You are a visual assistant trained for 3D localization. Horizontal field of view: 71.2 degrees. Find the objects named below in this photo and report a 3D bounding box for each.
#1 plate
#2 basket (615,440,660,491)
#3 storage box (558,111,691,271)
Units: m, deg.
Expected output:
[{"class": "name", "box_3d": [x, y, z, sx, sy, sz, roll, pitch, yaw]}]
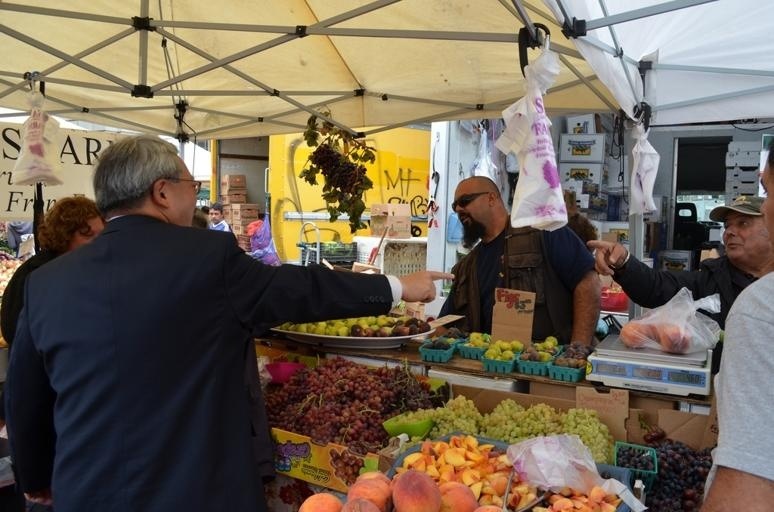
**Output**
[{"class": "plate", "box_3d": [-0.264, 0.662, 3.927, 1.088, 0.143, 0.384, 4, 5, 1]}, {"class": "basket", "box_3d": [1.408, 1.157, 3.033, 0.275, 0.185, 0.265, -6, 6, 13]}, {"class": "storage box", "box_3d": [5.064, -0.691, 11.362, 2.382, 4.226, 1.571, 11, 9, 40]}]
